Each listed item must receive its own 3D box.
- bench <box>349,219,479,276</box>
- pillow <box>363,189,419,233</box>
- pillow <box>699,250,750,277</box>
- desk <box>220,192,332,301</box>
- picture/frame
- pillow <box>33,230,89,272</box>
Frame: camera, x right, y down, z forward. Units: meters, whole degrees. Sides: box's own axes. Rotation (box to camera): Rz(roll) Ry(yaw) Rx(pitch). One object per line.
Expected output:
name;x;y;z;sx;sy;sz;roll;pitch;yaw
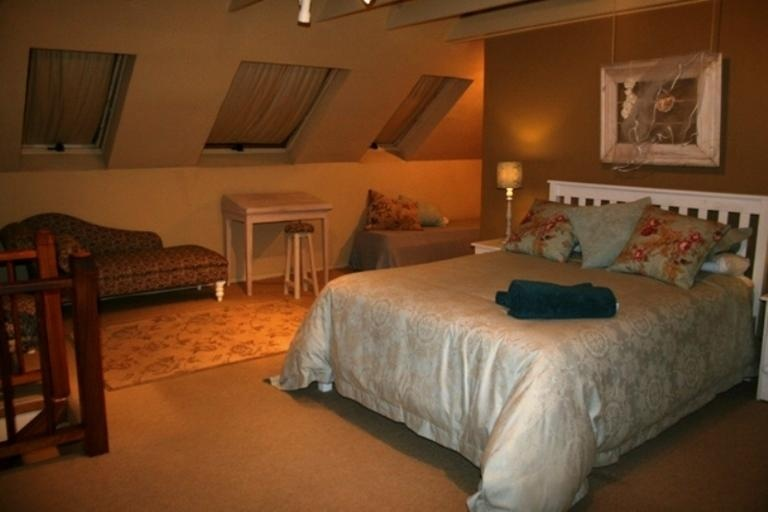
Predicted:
bench;0.499;-0.173;7.240;1.231;0.341;0.738;-10;19;-32
pillow;0.117;-0.554;7.335;0.601;0.586;0.187;2;-27;3
pillow;2.679;0.025;4.193;0.227;0.070;0.224;-14;13;-34
desk;-1.329;-0.271;6.753;1.165;1.069;0.890;-6;18;-23
picture/frame;2.414;-1.256;4.639;1.004;1.203;0.087;-7;9;43
pillow;-2.576;-0.030;4.252;0.339;0.266;0.345;-5;17;-42
